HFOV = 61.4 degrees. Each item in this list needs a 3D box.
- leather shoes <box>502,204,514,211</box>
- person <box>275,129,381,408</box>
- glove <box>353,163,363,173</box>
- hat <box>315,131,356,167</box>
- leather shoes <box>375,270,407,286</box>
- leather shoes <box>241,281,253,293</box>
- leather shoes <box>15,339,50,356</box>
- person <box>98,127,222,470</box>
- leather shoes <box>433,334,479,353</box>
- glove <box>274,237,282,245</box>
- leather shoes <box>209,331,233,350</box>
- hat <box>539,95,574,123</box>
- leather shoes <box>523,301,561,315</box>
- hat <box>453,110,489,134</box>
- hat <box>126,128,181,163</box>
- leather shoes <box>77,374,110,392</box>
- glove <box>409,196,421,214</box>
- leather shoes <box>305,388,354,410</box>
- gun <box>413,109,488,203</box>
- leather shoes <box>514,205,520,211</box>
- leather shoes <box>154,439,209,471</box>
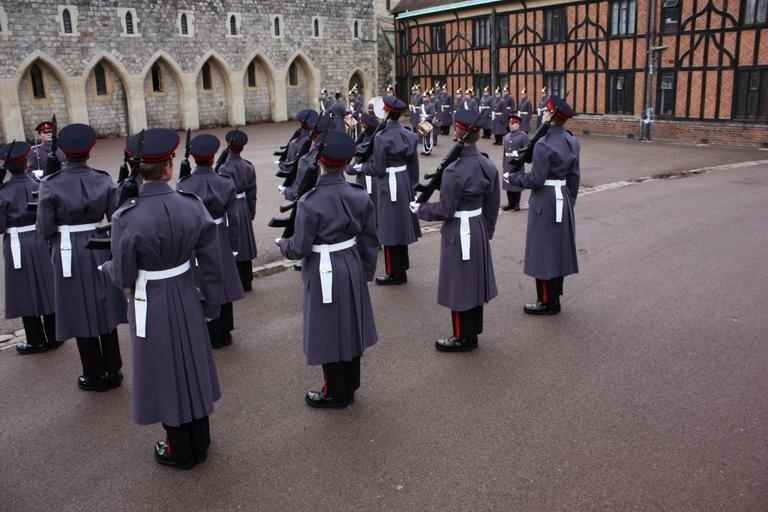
[{"bbox_3d":[2.262,-0.878,11.973,0.205,0.090,0.065,6,6,27],"label":"leather shoes"},{"bbox_3d":[-0.472,0.162,5.915,0.856,2.546,0.333,-3,11,-6],"label":"person"},{"bbox_3d":[-0.360,-1.235,8.993,0.086,0.050,0.128,10,-25,-8],"label":"glove"},{"bbox_3d":[-0.429,-0.958,5.786,0.334,0.317,0.270,-2,12,-3],"label":"hat"},{"bbox_3d":[0.084,0.291,8.495,0.410,0.213,0.173,3,1,6],"label":"leather shoes"},{"bbox_3d":[-1.765,0.402,8.289,0.116,0.228,0.124,-1,-4,-5],"label":"leather shoes"},{"bbox_3d":[-3.844,1.011,7.080,0.288,0.151,0.141,7,1,-6],"label":"leather shoes"},{"bbox_3d":[-1.781,0.387,5.385,0.876,2.806,0.431,-7,13,-26],"label":"person"},{"bbox_3d":[0.761,0.908,6.852,0.373,0.196,0.189,4,1,6],"label":"leather shoes"},{"bbox_3d":[-1.198,-0.168,7.256,0.123,0.085,0.169,0,3,-21],"label":"glove"},{"bbox_3d":[-1.771,0.912,7.052,0.131,0.208,0.201,-5,-14,24],"label":"leather shoes"},{"bbox_3d":[1.962,-1.665,7.305,0.286,0.293,0.355,2,13,16],"label":"hat"},{"bbox_3d":[1.813,0.626,7.514,0.380,0.199,0.173,5,5,19],"label":"leather shoes"},{"bbox_3d":[0.950,-1.425,6.739,0.276,0.207,0.564,7,16,35],"label":"hat"},{"bbox_3d":[-1.924,-0.927,5.422,0.367,0.266,0.496,-7,14,-20],"label":"hat"},{"bbox_3d":[-2.890,1.256,6.413,0.275,0.216,0.137,12,8,22],"label":"leather shoes"},{"bbox_3d":[0.294,-0.521,6.819,0.131,0.198,0.061,-9,1,-32],"label":"glove"},{"bbox_3d":[-0.531,1.371,6.175,0.372,0.198,0.179,9,1,3],"label":"leather shoes"},{"bbox_3d":[0.657,-1.017,6.657,0.704,0.940,0.410,0,12,9],"label":"gun"},{"bbox_3d":[2.407,-0.876,11.884,0.090,0.118,0.281,-1,2,14],"label":"leather shoes"},{"bbox_3d":[-1.750,1.707,5.588,0.412,0.220,0.200,17,15,17],"label":"leather shoes"}]
